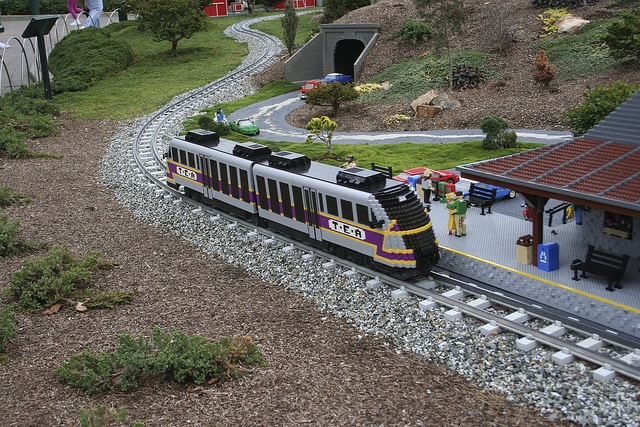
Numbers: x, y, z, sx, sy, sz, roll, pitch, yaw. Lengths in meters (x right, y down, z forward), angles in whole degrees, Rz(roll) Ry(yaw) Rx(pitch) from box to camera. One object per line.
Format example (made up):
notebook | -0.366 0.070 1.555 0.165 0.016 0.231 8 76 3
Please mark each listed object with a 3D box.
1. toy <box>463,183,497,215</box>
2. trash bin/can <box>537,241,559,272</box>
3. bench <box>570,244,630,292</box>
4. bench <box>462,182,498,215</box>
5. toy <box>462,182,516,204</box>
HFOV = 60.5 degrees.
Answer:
toy | 7.203 -0.615 24.739 0.825 0.806 1.487 -18 24 -25
trash bin/can | 8.158 1.576 19.741 0.695 1.033 0.660 -31 38 -30
bench | 9.523 1.873 18.944 1.233 0.918 1.602 -13 16 -27
bench | 7.188 -0.634 24.638 0.840 0.833 1.542 -17 24 -25
toy | 8.181 -1.019 25.905 2.139 0.485 1.119 -7 14 -33
